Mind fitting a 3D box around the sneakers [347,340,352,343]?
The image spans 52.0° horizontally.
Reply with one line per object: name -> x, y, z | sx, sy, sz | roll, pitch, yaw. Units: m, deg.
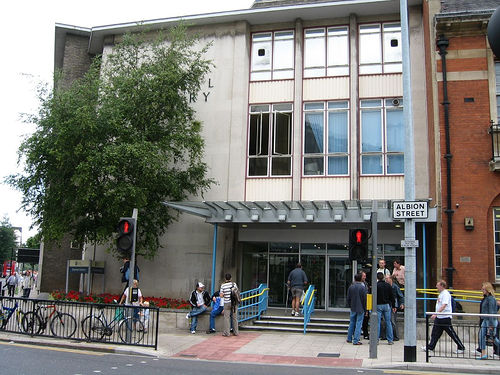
sneakers -> 3.585, 5.483, 18.390 | 0.119, 0.062, 0.163 | 0, -13, 6

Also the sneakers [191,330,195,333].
sneakers -> -2.275, 5.718, 20.453 | 0.119, 0.105, 0.225 | 2, -4, -6

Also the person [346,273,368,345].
person -> 3.809, 4.293, 18.222 | 0.713, 2.459, 0.931 | -1, -7, 8

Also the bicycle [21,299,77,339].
bicycle -> -7.024, 4.596, 17.845 | 1.929, 1.243, 1.014 | 1, -8, 15

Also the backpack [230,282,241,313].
backpack -> -0.573, 4.227, 19.723 | 0.324, 1.060, 0.364 | -1, -7, 5

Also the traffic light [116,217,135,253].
traffic light -> -3.978, 1.496, 16.359 | 0.556, 1.043, 0.387 | 0, -7, -7

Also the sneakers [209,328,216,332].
sneakers -> -1.468, 5.702, 20.559 | 0.169, 0.187, 0.507 | -4, -8, 24

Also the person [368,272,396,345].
person -> 4.853, 4.263, 18.179 | 0.599, 2.494, 1.272 | -2, -7, 15

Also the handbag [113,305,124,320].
handbag -> -4.351, 4.157, 16.992 | 0.458, 0.502, 0.124 | -5, -14, 28

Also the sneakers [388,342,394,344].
sneakers -> 4.990, 5.455, 18.078 | 0.180, 0.112, 0.279 | -3, -8, 16

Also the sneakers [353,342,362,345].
sneakers -> 3.827, 5.441, 18.097 | 0.321, 0.147, 0.110 | 4, -6, -29

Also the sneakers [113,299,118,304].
sneakers -> -5.816, 4.893, 22.131 | 0.179, 0.191, 0.333 | -5, -9, 3

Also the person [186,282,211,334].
person -> -2.134, 4.875, 20.873 | 0.611, 1.925, 1.062 | -5, -8, 34
